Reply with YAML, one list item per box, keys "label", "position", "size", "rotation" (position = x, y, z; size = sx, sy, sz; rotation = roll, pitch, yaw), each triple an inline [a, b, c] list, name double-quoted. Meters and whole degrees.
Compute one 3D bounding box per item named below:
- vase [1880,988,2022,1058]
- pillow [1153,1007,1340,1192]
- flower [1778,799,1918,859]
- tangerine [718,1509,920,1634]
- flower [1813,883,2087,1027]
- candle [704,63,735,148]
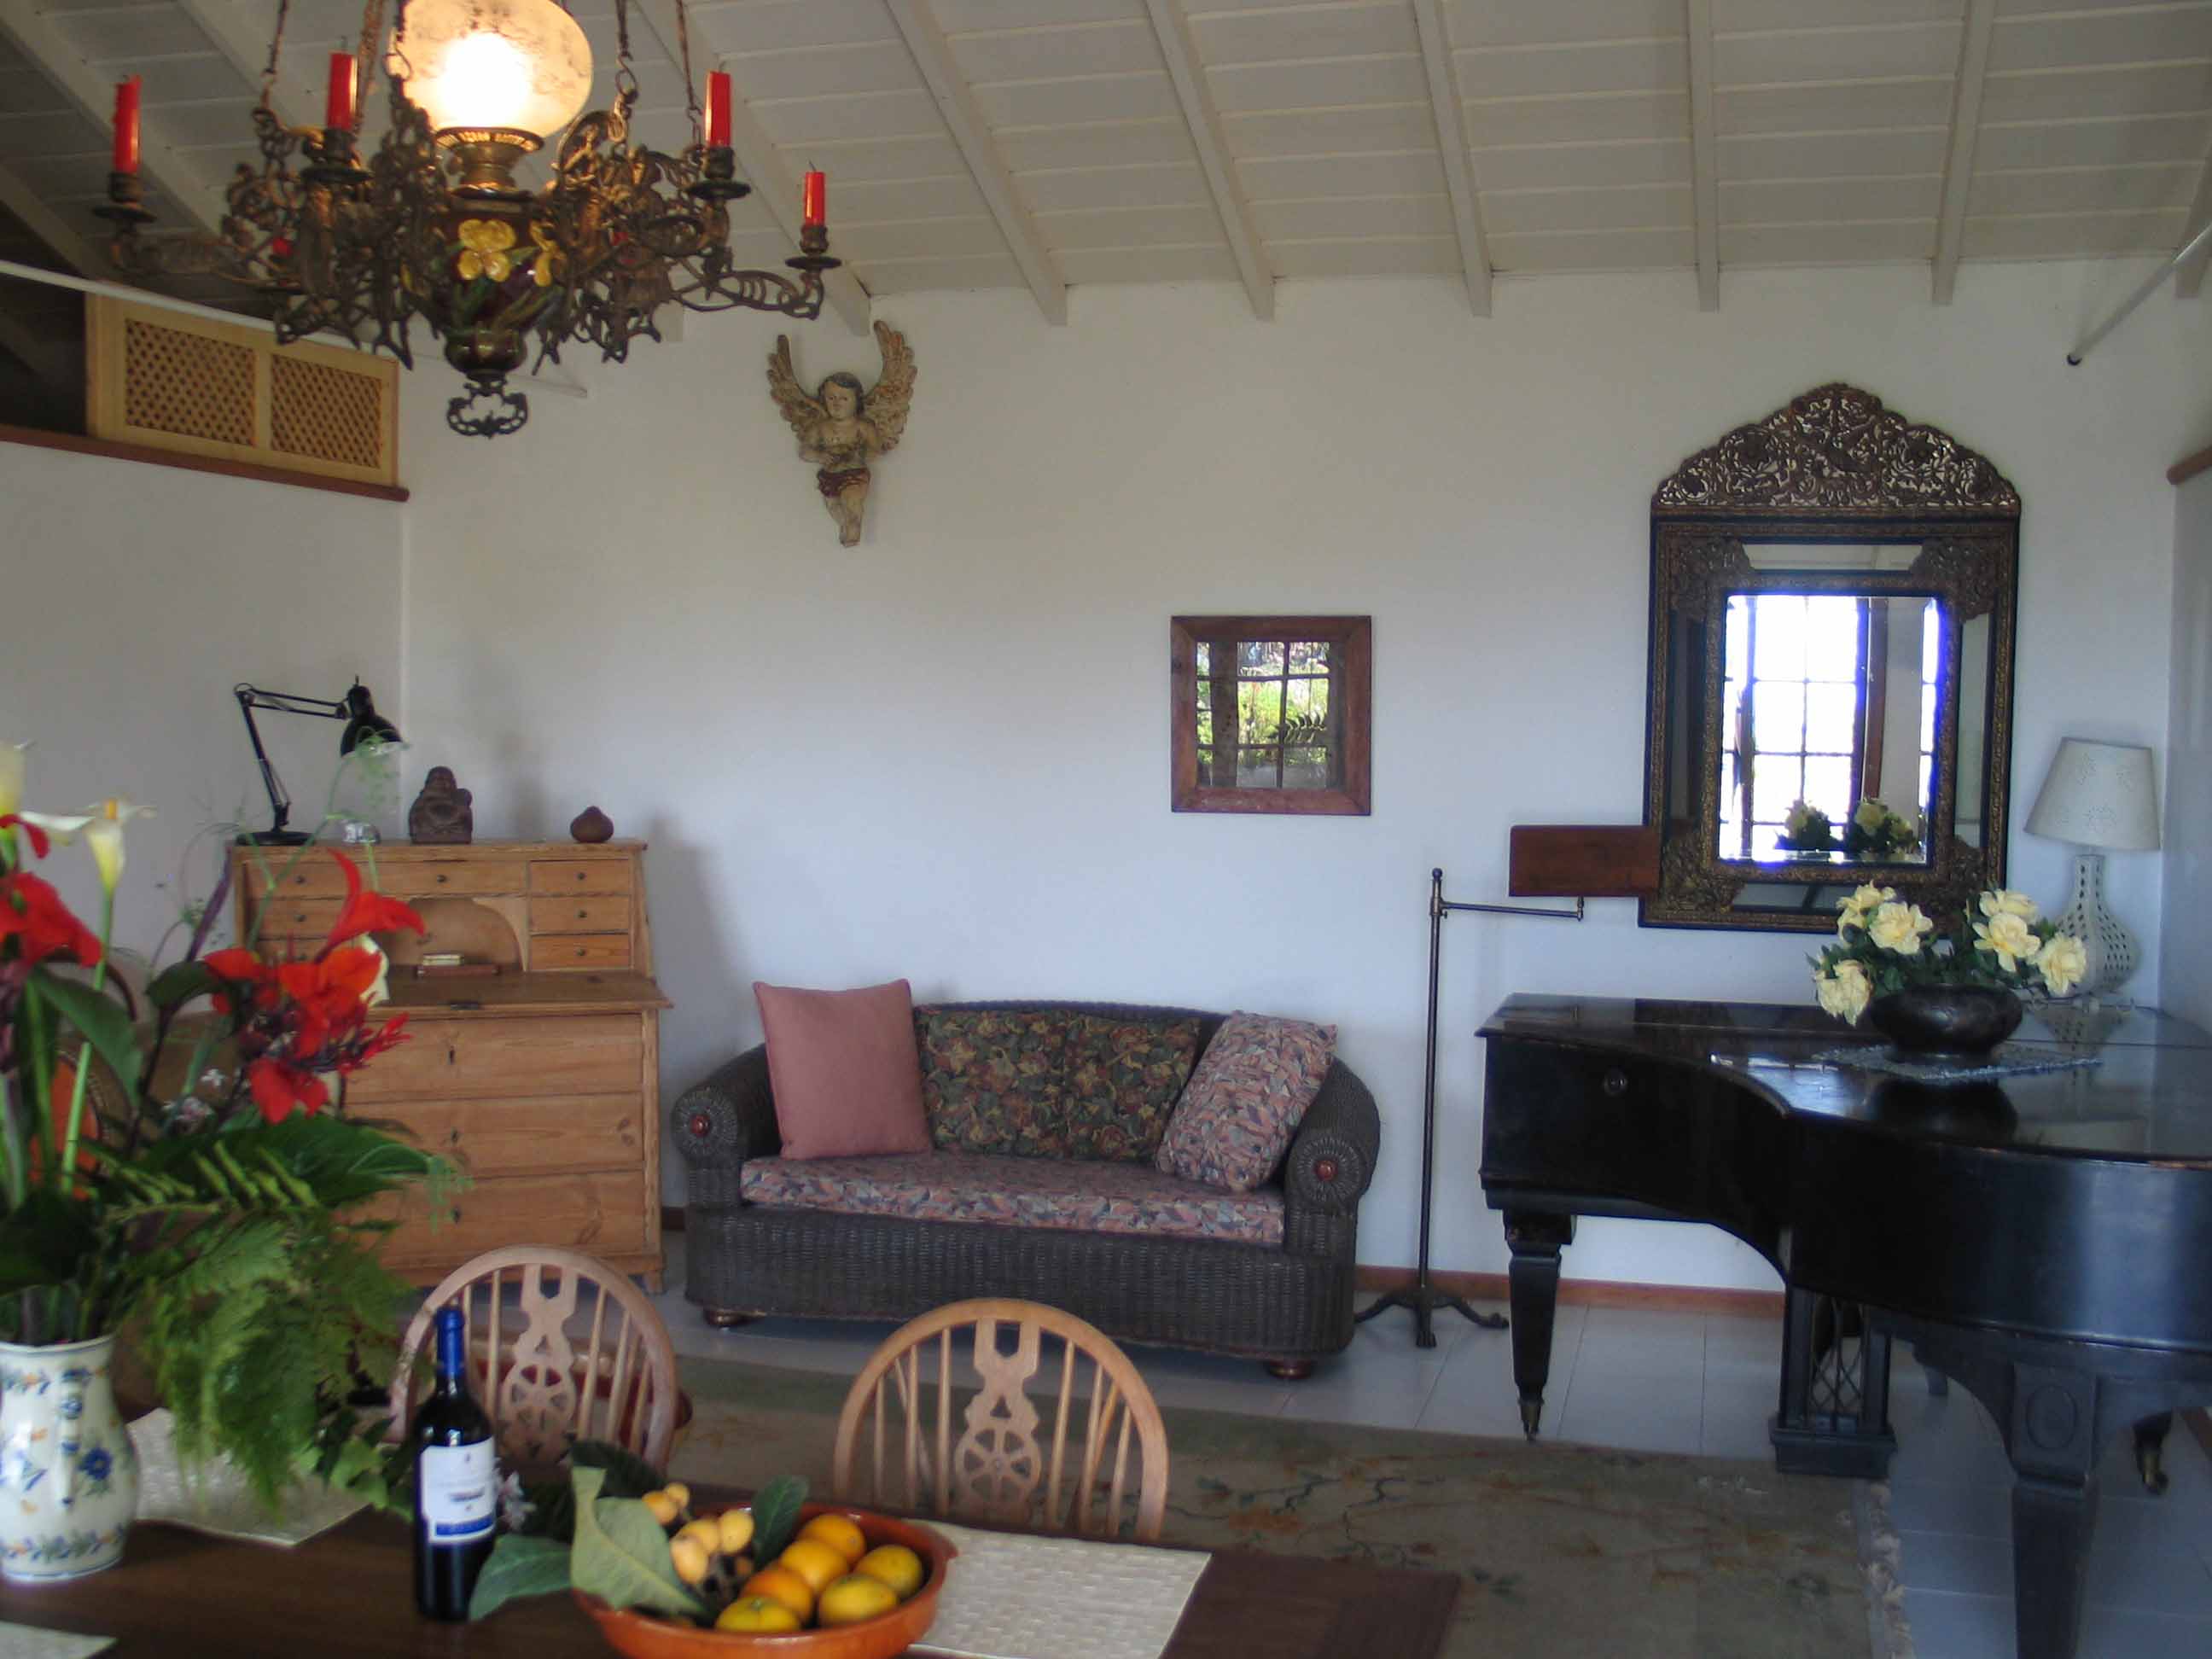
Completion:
- label: "vase"
  position: [2.042, 0.448, 4.258]
  size: [0.219, 0.121, 0.222]
  rotation: [-5, 7, -12]
- label: "pillow"
  position: [0.439, 0.838, 5.455]
  size: [0.152, 0.505, 0.490]
  rotation: [37, -16, -31]
- label: "flower"
  position: [2.402, 0.022, 5.738]
  size: [0.236, 0.138, 0.235]
  rotation: [3, -2, -5]
- label: "tangerine"
  position: [-0.356, 0.909, 2.139]
  size: [0.133, 0.062, 0.150]
  rotation: [-5, 3, -7]
- label: "flower"
  position: [2.024, 0.304, 4.268]
  size: [0.608, 0.293, 0.424]
  rotation: [-1, -2, 21]
- label: "candle"
  position: [-0.647, -1.198, 2.927]
  size: [0.033, 0.131, 0.062]
  rotation: [0, 5, -1]
